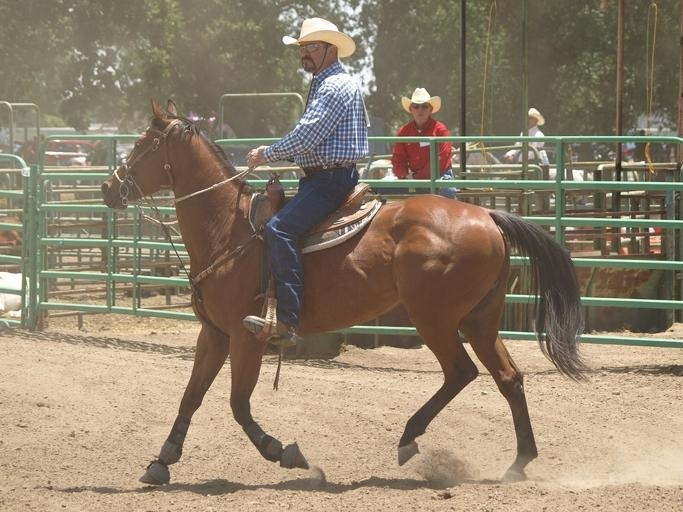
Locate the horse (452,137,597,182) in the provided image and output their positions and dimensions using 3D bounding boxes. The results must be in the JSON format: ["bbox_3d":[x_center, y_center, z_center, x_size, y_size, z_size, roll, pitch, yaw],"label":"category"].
[{"bbox_3d":[2.658,-1.438,14.005,1.749,0.612,1.123,-2,3,-26],"label":"horse"}]

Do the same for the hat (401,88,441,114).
[{"bbox_3d":[1.083,-2.144,12.762,0.614,0.272,0.707,0,-13,4],"label":"hat"}]

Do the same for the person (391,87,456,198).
[{"bbox_3d":[0.939,-1.422,12.095,0.863,1.293,0.850,-5,9,-12],"label":"person"}]

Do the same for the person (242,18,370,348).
[{"bbox_3d":[-0.299,-0.681,8.615,1.077,2.916,0.527,1,4,-11],"label":"person"}]

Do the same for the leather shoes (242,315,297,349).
[{"bbox_3d":[-0.633,0.677,8.475,0.439,0.188,0.222,28,-27,-10],"label":"leather shoes"}]

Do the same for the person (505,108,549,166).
[{"bbox_3d":[2.616,-1.607,13.863,0.545,0.912,0.397,-15,32,-37],"label":"person"}]
